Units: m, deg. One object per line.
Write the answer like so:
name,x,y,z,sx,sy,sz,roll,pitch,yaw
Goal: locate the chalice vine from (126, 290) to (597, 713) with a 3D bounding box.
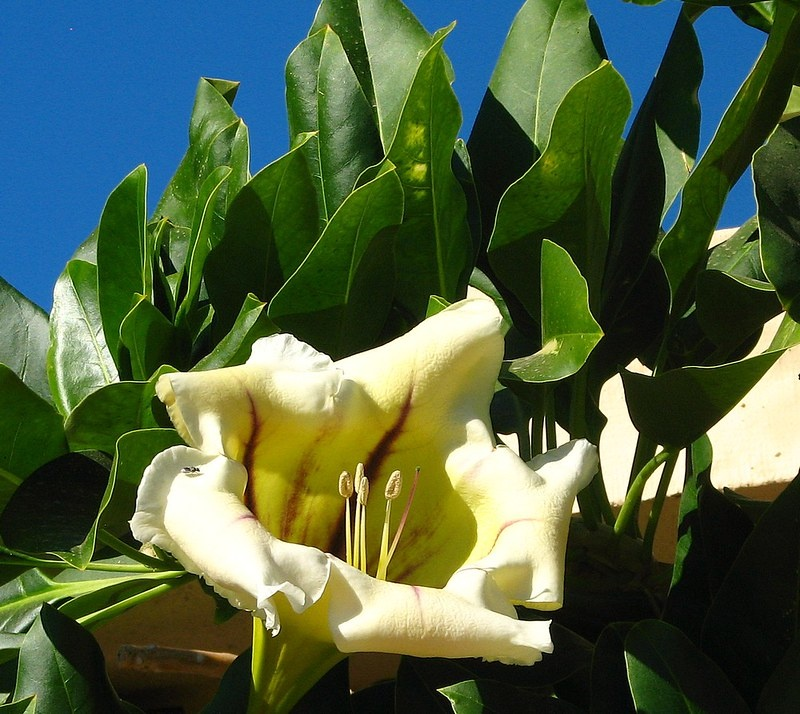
chalice vine,-0.020,0.102,0.745,0.286,0.223,0.234,7,23,9
